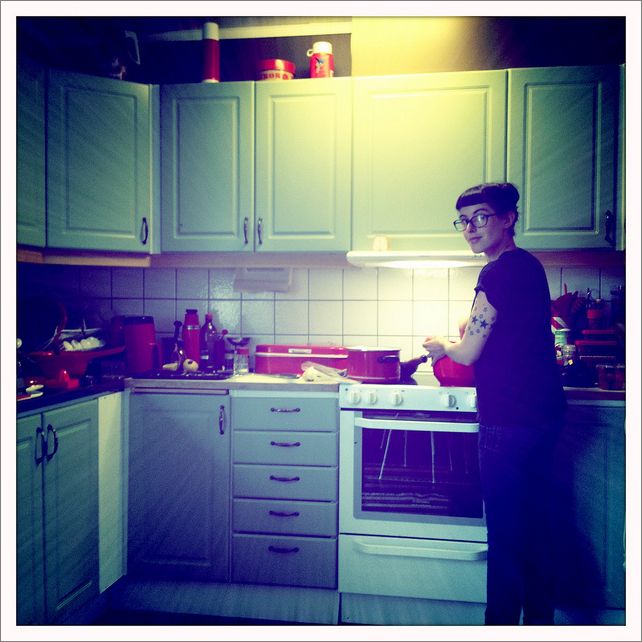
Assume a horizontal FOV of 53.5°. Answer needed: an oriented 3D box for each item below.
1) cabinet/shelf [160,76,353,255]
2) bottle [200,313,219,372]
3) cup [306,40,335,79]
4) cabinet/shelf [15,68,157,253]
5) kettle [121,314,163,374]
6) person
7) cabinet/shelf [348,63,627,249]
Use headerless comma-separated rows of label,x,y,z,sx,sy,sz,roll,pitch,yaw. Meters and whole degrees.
cabinet/shelf,-0.294,-0.622,2.894,0.771,0.794,0.311,-1,-11,-4
bottle,-0.519,0.093,2.947,0.080,0.250,0.212,0,2,-10
cup,0.000,-1.137,2.777,0.151,0.186,0.107,-1,5,-2
cabinet/shelf,-0.915,-0.708,2.891,0.486,0.749,0.465,5,14,3
kettle,-0.781,0.098,2.760,0.133,0.271,0.244,-2,-4,7
person,0.635,0.416,2.190,0.385,1.320,0.174,1,2,22
cabinet/shelf,0.744,-0.668,2.910,1.021,0.831,0.567,-3,6,-8
